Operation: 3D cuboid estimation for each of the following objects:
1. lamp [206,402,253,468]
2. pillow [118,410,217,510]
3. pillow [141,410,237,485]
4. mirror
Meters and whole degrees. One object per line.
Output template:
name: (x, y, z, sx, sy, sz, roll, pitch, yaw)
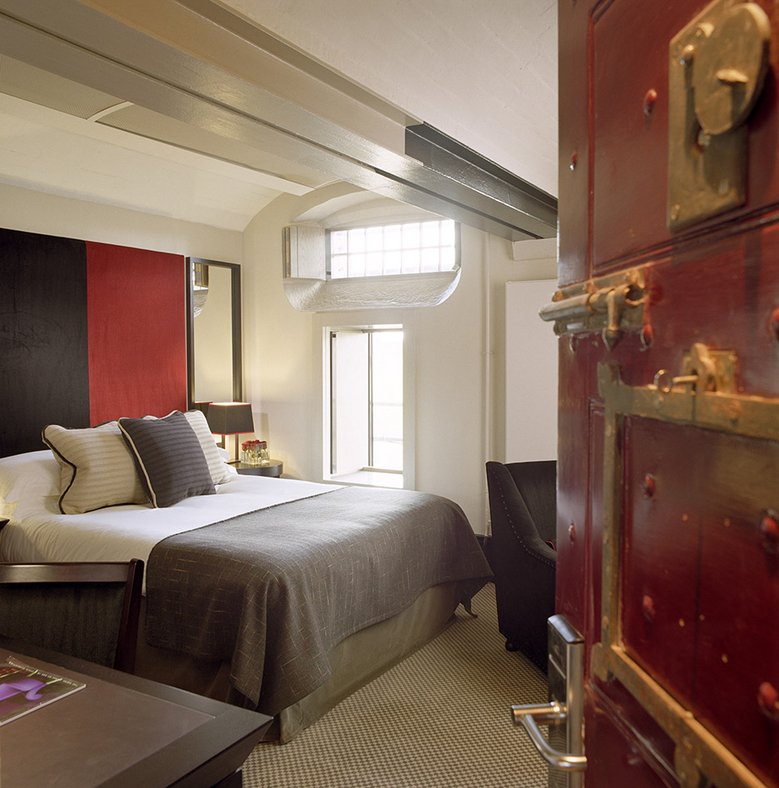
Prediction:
lamp: (-1.203, 0.303, 5.288, 0.415, 0.466, 0.437, -2, 6, -33)
pillow: (-1.172, 0.323, 3.532, 0.127, 0.458, 0.434, -26, -8, 22)
pillow: (-1.246, 0.400, 4.123, 0.123, 0.493, 0.445, -20, 1, 8)
mirror: (-1.427, -0.485, 5.427, 0.471, 1.229, 0.046, 1, 6, 18)
